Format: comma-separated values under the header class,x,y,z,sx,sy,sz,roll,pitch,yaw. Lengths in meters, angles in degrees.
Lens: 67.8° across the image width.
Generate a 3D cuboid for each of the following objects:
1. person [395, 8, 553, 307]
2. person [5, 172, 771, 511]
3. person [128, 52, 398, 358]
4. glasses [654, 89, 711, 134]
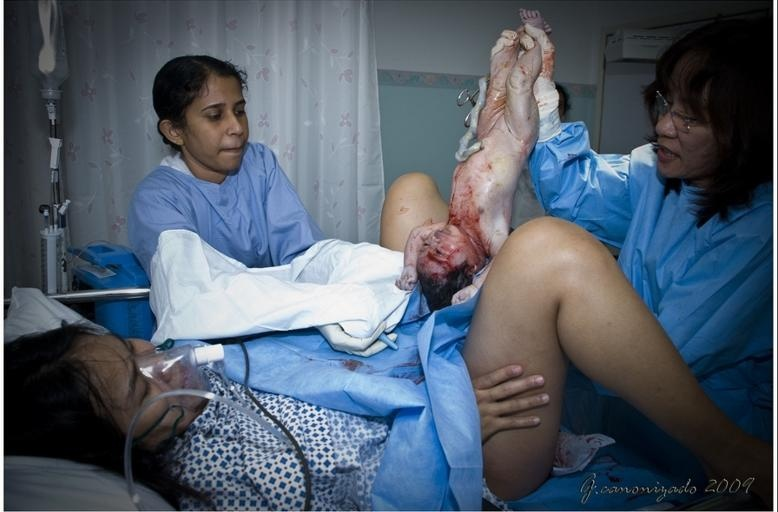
class,x,y,z,sx,sy,sz,roll,pitch,yaw
person,0.327,-0.266,1.946,0.315,0.290,1.019,12,58,22
person,-0.035,0.264,1.415,1.461,0.576,0.841,-5,16,-9
person,-0.467,-0.190,2.272,1.034,1.134,0.658,5,26,19
glasses,0.808,-0.403,1.600,0.118,0.043,0.120,-2,40,-27
